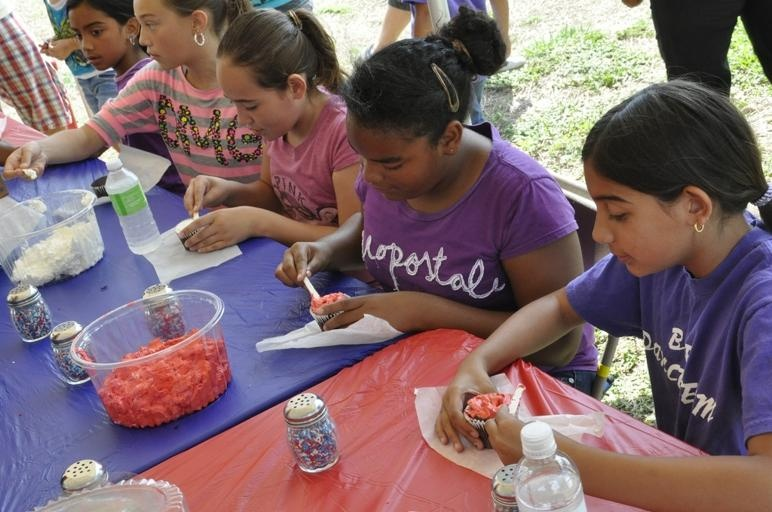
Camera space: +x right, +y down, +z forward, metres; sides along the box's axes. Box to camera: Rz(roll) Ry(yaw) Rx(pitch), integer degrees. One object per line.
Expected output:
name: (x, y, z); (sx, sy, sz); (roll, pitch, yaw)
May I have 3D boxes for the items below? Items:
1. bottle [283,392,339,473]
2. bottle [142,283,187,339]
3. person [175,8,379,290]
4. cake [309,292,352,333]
bottle: (-0.213, 0.509, 1.624); (0.118, 0.197, 0.124); (-10, 22, 4)
bottle: (-0.772, 0.204, 1.975); (0.108, 0.179, 0.107); (-15, 11, 3)
person: (-0.510, -0.567, 2.782); (0.792, 1.158, 1.020); (7, 30, 8)
cake: (-0.197, 0.202, 2.033); (0.110, 0.128, 0.126); (-1, 18, 9)
